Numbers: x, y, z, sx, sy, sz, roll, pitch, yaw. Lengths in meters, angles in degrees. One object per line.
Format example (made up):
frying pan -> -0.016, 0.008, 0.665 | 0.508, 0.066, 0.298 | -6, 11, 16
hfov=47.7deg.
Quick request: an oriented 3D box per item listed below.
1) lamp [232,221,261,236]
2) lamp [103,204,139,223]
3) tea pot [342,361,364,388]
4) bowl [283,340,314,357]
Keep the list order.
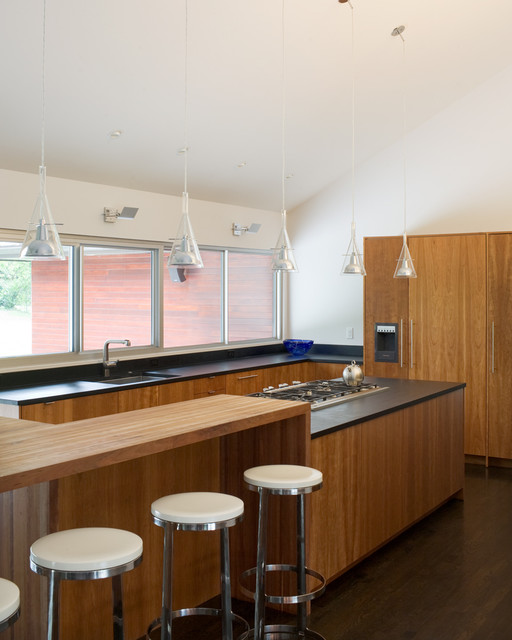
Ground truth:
lamp -> -0.104, -0.947, 6.078 | 0.057, 0.191, 0.489 | -2, -2, 34
lamp -> -1.077, -0.841, 4.634 | 0.065, 0.169, 0.395 | -2, -2, 28
tea pot -> 0.635, 0.354, 3.809 | 0.113, 0.151, 0.153 | 1, 4, 1
bowl -> 0.459, 0.305, 6.241 | 0.344, 0.172, 0.530 | -1, -2, 3
